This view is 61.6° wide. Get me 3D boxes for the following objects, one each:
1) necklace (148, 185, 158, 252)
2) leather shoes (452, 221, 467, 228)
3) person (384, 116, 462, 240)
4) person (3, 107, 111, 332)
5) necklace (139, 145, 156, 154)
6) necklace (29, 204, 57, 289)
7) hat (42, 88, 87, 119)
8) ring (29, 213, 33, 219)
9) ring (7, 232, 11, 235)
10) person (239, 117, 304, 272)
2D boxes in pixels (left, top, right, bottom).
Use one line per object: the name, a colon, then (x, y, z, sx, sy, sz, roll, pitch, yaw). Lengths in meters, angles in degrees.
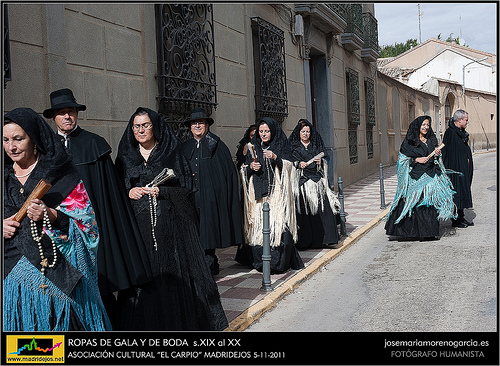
necklace: (-0.926, 0.338, 4.076, 0.088, 0.626, 0.073, -2, -4, 7)
leather shoes: (4.455, 0.870, 8.983, 0.328, 0.148, 0.136, -1, 1, 1)
person: (3.330, -0.123, 8.183, 1.265, 2.213, 1.184, 1, 12, 28)
person: (-1.529, 0.346, 3.192, 0.700, 1.801, 0.353, -5, 6, -22)
necklace: (-1.031, -0.324, 4.191, 0.098, 0.142, 0.077, -1, 6, 4)
necklace: (-1.508, 0.424, 3.098, 0.158, 0.513, 0.082, -6, 7, -30)
hat: (-1.794, -0.789, 4.049, 0.362, 0.207, 0.374, -7, 7, 38)
ring: (-1.582, 0.241, 3.042, 0.018, 0.034, 0.059, -8, 8, -42)
ring: (-1.748, 0.362, 3.059, 0.019, 0.019, 0.020, 4, 7, -1)
person: (0.350, 0.171, 6.445, 0.817, 2.336, 0.697, -5, 7, -27)
